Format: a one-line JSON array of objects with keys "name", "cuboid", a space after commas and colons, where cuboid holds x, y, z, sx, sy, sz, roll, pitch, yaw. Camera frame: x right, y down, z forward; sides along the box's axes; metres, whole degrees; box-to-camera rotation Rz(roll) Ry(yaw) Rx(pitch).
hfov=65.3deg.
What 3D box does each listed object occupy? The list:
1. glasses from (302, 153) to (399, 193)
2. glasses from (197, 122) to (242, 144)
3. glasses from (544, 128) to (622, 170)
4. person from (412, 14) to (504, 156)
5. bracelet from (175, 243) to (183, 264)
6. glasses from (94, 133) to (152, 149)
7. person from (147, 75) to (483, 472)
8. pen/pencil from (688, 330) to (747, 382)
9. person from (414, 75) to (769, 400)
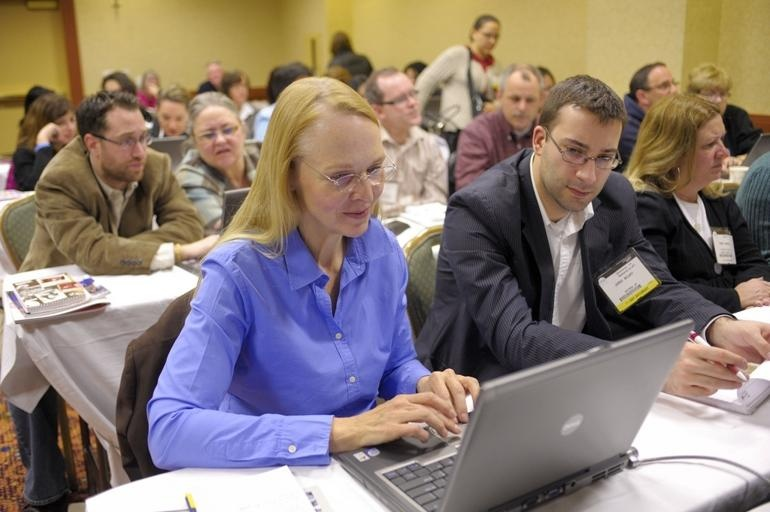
[{"name": "glasses", "cuboid": [-0.105, -0.218, 1.600, 0.226, 0.082, 0.060, -3, 16, -13]}, {"name": "glasses", "cuboid": [-0.991, -0.723, 3.545, 0.145, 0.049, 0.148, -16, 1, -21]}, {"name": "glasses", "cuboid": [0.704, -0.356, 2.029, 0.283, 0.115, 0.119, -3, 16, -13]}, {"name": "person", "cuboid": [0.902, -1.500, 6.299, 0.807, 1.930, 0.513, -12, 36, -19]}, {"name": "bracelet", "cuboid": [-1.011, -0.012, 2.919, 0.040, 0.069, 0.056, 3, -20, -13]}, {"name": "glasses", "cuboid": [-1.293, -0.577, 2.960, 0.131, 0.044, 0.132, 22, 24, 22]}, {"name": "person", "cuboid": [-0.183, 0.041, 1.716, 0.701, 0.968, 1.036, 10, 11, 44]}, {"name": "pen/pencil", "cuboid": [0.978, 0.295, 1.742, 0.028, 0.028, 0.244, -22, 40, -5]}, {"name": "person", "cuboid": [0.723, -0.167, 2.213, 0.810, 1.070, 1.189, -12, 11, -32]}]
